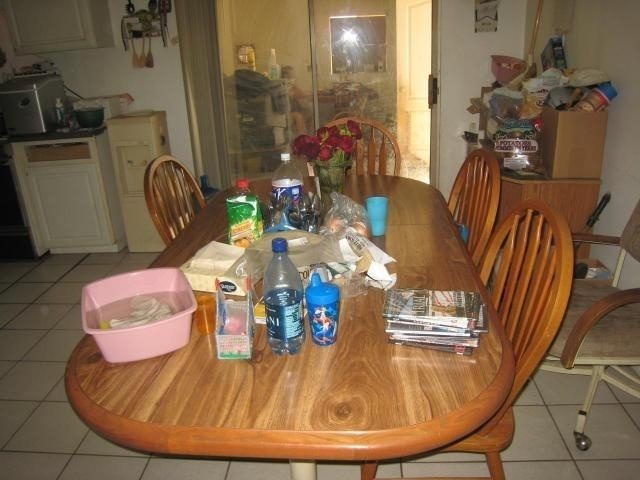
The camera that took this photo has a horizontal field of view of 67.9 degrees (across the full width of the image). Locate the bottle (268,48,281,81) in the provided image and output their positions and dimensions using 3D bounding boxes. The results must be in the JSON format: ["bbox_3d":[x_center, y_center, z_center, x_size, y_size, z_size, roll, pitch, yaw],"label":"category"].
[{"bbox_3d":[-0.417,-1.585,4.279,0.119,0.265,0.028,5,22,20],"label":"bottle"}]

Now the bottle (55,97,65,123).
[{"bbox_3d":[-2.071,-1.032,3.786,0.070,0.176,0.126,-13,23,-25],"label":"bottle"}]

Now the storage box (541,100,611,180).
[{"bbox_3d":[1.510,-0.594,3.025,0.347,0.531,0.508,4,24,11],"label":"storage box"}]

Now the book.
[{"bbox_3d":[0.345,0.233,1.398,0.188,0.065,0.200,4,27,11],"label":"book"}]
